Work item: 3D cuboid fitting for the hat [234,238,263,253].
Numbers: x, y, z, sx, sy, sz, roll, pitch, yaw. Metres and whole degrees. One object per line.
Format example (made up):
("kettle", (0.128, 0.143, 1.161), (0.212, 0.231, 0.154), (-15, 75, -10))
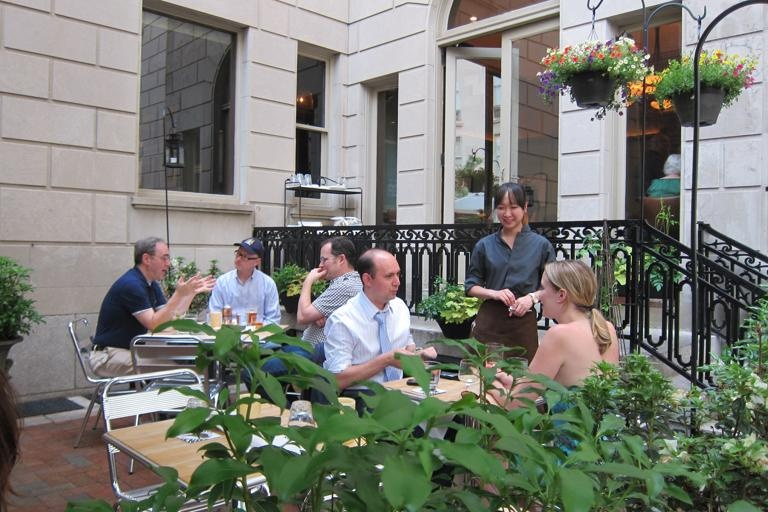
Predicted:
("hat", (-1.454, -0.073, 7.055), (0.185, 0.138, 0.256), (21, 0, 44))

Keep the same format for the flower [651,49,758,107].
("flower", (3.044, -1.688, 6.189), (0.714, 0.443, 0.779), (0, 4, 20))

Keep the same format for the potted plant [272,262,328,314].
("potted plant", (-1.136, 0.410, 8.800), (0.642, 0.671, 0.694), (-1, -1, -3))

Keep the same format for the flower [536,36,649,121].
("flower", (1.981, -1.725, 6.260), (0.908, 0.641, 0.894), (-3, 3, -41))

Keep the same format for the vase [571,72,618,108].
("vase", (1.997, -1.580, 6.203), (0.307, 0.207, 0.312), (-1, 2, -9))

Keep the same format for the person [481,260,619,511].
("person", (1.016, 0.720, 3.922), (0.744, 1.326, 1.731), (-1, 2, 20))

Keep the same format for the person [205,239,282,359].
("person", (-1.545, 0.378, 7.171), (0.764, 1.102, 0.660), (4, 5, -4))

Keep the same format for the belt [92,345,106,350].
("belt", (-2.883, 0.921, 6.609), (0.137, 0.048, 0.051), (5, -7, 8))

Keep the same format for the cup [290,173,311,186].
("cup", (-1.265, -1.157, 9.969), (0.167, 0.129, 0.296), (-1, -2, -15))

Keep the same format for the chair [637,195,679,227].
("chair", (3.225, -0.551, 7.564), (0.439, 0.389, 0.433), (-2, 5, -43))

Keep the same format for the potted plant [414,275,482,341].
("potted plant", (0.723, 0.578, 7.270), (0.581, 0.438, 0.599), (0, -2, -7))
